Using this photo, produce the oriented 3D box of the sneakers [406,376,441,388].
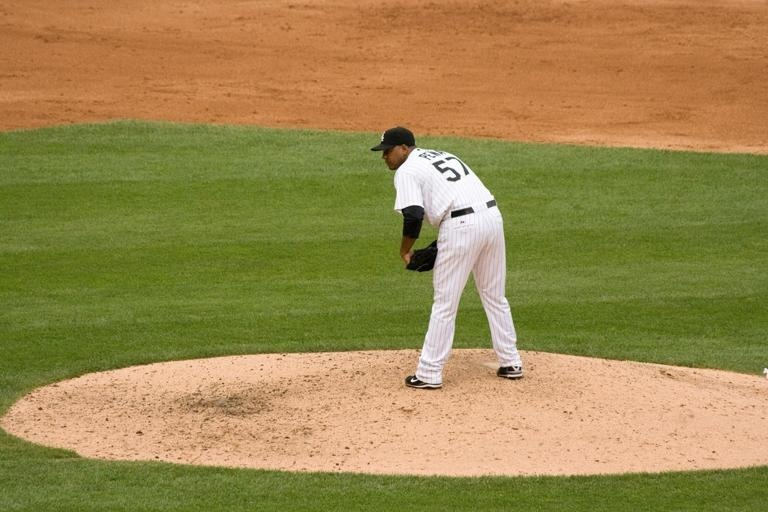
[{"bbox_3d":[0.713,2.177,31.584,0.648,0.267,0.234,6,3,6],"label":"sneakers"}]
